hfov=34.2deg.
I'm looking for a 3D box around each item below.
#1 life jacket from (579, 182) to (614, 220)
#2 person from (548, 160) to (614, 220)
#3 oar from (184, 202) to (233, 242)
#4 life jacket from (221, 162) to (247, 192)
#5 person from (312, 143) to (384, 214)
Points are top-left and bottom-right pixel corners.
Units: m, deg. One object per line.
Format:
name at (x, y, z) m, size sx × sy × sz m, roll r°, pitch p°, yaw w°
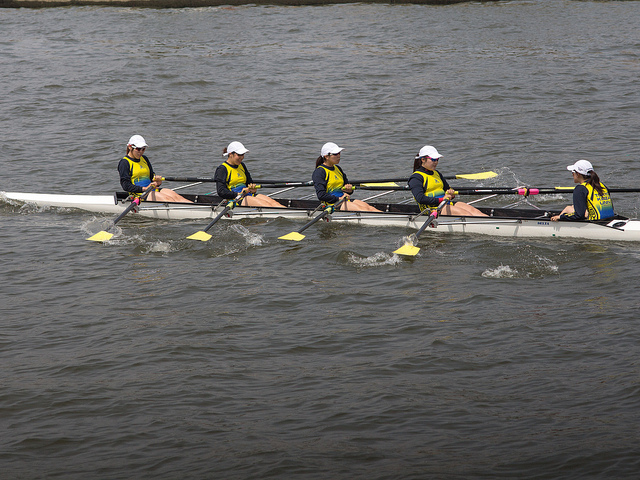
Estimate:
life jacket at (6.685, -0.947, 25.179) m, size 0.766 × 0.914 × 0.346 m, roll -5°, pitch 24°, yaw -14°
person at (6.425, -1.187, 25.170) m, size 1.382 × 1.489 × 0.642 m, roll 3°, pitch 23°, yaw 9°
oar at (-2.966, -0.477, 26.777) m, size 0.785 × 0.763 × 1.854 m, roll 5°, pitch 16°, yaw 15°
life jacket at (-2.266, -1.691, 27.921) m, size 0.655 × 0.762 × 0.518 m, roll -7°, pitch 22°, yaw -19°
person at (0.472, -1.627, 27.164) m, size 1.264 × 1.748 × 1.380 m, roll -5°, pitch 21°, yaw -13°
